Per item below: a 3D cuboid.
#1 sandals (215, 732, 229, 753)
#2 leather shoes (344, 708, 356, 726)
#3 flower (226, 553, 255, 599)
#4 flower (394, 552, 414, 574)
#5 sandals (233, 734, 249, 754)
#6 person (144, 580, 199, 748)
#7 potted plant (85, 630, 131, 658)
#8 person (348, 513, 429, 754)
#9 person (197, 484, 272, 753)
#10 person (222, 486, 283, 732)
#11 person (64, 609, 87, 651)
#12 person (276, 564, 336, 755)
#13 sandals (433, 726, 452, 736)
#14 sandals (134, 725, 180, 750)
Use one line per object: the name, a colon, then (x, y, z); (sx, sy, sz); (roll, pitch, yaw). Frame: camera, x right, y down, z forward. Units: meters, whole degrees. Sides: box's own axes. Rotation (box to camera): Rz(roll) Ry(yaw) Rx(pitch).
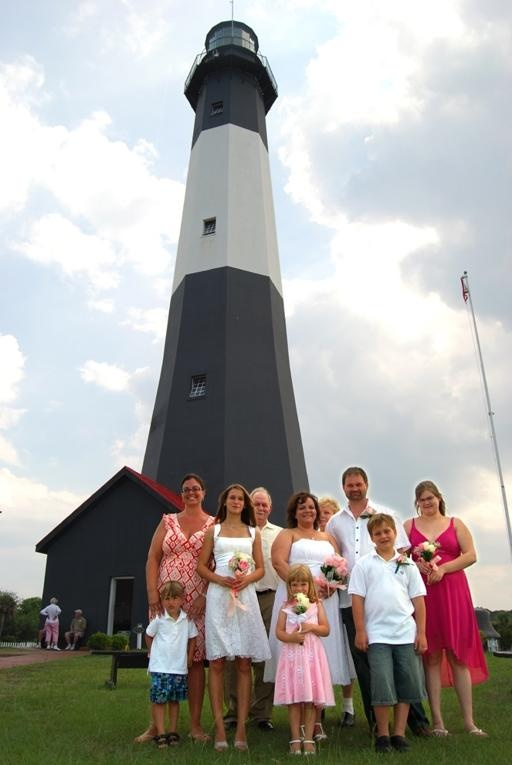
sandals: (-0.235, 2.529, 3.747); (0.049, 0.056, 0.135); (4, -4, -10)
leather shoes: (0.861, 3.148, 4.994); (0.067, 0.081, 0.195); (2, 2, 6)
flower: (-0.119, 1.462, 4.267); (0.191, 0.195, 0.297); (-3, -20, 2)
flower: (1.119, 1.395, 4.120); (0.124, 0.134, 0.063); (12, -8, 1)
sandals: (-0.102, 2.502, 3.743); (0.087, 0.114, 0.242); (-1, -20, -3)
person: (-0.657, 2.185, 4.258); (0.366, 1.131, 0.394); (13, -24, -36)
potted plant: (-3.838, 6.925, 14.177); (0.980, 0.708, 0.825); (1, -1, 4)
person: (1.000, 1.770, 3.973); (0.532, 1.546, 0.358); (6, -21, -21)
person: (-0.152, 1.753, 4.240); (0.549, 1.860, 0.566); (3, -20, -14)
person: (-0.144, 2.168, 5.176); (0.677, 2.355, 0.657); (-4, -4, 31)
person: (-5.333, 7.330, 15.891); (0.645, 1.069, 0.429); (-14, -23, 31)
person: (0.314, 1.999, 3.912); (0.402, 1.252, 0.711); (-8, -20, 17)
sandals: (1.398, 2.691, 4.098); (0.066, 0.034, 0.121); (4, -7, -32)
sandals: (-0.719, 2.668, 4.022); (0.277, 0.068, 0.458); (16, -27, -40)
